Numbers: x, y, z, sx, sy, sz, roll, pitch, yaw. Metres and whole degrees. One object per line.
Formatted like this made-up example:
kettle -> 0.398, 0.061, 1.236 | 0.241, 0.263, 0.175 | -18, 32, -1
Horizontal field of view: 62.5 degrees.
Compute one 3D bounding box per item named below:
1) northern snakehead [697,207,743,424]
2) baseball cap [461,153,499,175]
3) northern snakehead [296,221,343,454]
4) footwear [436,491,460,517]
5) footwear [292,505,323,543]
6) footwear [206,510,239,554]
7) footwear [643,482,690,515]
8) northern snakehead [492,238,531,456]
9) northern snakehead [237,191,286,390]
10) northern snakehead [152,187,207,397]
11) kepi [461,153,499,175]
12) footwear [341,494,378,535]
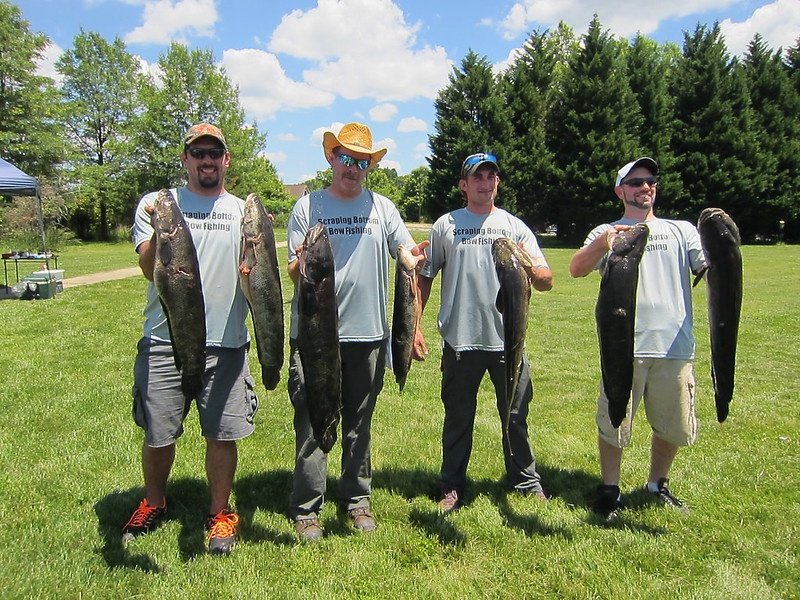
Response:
northern snakehead -> 3.338, 0.173, 6.995 | 0.451, 2.269, 0.314 | 5, 8, 28
baseball cap -> 0.906, -1.551, 7.534 | 0.394, 0.305, 0.482 | 3, 8, 6
northern snakehead -> -0.773, 0.385, 6.840 | 0.648, 2.192, 0.433 | -1, 1, 10
footwear -> 0.555, 2.291, 7.428 | 0.128, 0.126, 0.290 | 2, 23, 8
footwear -> -0.979, 2.408, 7.013 | 0.309, 0.227, 0.255 | 1, 8, -10
footwear -> -1.877, 2.402, 6.857 | 0.319, 0.365, 0.315 | 1, 7, -6
footwear -> 2.978, 2.189, 7.393 | 0.177, 0.243, 0.545 | -11, 17, -10
northern snakehead -> 1.158, 0.445, 6.776 | 0.311, 2.058, 0.462 | 3, -4, 12
northern snakehead -> -1.342, -0.101, 6.814 | 0.427, 2.020, 0.638 | 0, 4, 20
northern snakehead -> -2.218, -0.051, 6.536 | 0.537, 2.062, 0.272 | 4, 7, 17
kepi -> 0.906, -1.551, 7.534 | 0.394, 0.305, 0.482 | 3, 8, 6
footwear -> -0.435, 2.348, 7.203 | 0.192, 0.226, 0.529 | -3, 1, -24
